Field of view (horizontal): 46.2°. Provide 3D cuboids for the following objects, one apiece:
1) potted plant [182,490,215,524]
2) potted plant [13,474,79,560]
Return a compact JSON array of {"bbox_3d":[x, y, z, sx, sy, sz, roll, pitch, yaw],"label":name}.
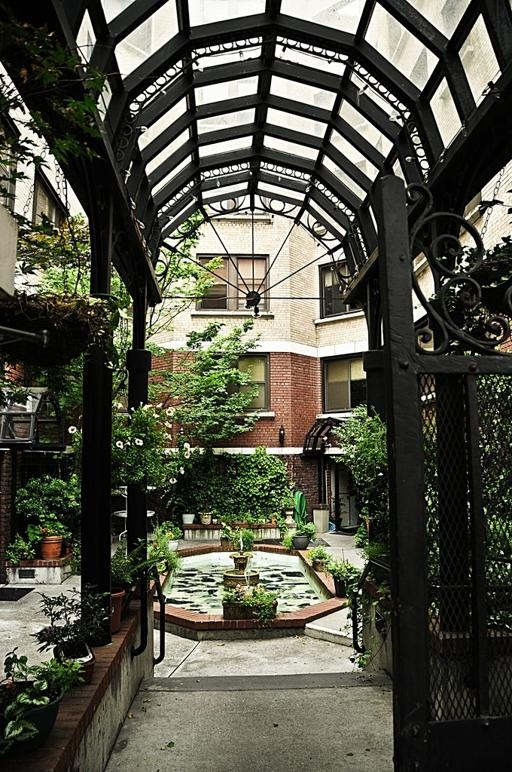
[{"bbox_3d":[-1.323,2.799,13.837,0.686,0.759,0.640,2,-17,-5],"label":"potted plant"},{"bbox_3d":[-2.944,1.846,8.355,1.133,1.386,0.915,2,-7,-18],"label":"potted plant"}]
